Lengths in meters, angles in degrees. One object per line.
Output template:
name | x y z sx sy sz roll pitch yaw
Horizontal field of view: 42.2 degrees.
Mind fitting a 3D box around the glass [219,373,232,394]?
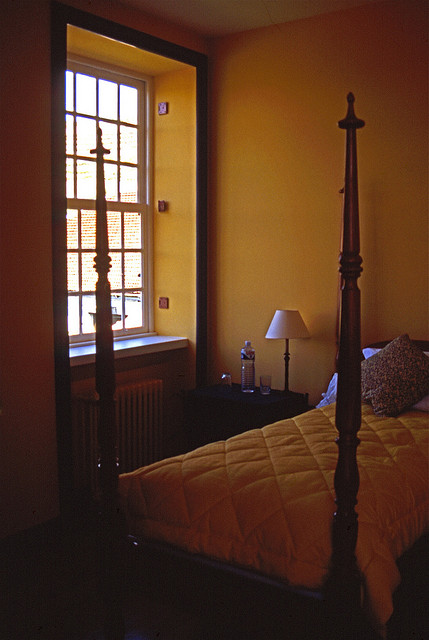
glass | 0.064 0.348 3.040 0.070 0.155 0.080 2 8 8

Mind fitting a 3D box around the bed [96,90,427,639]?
bed | 0.376 -0.001 2.028 0.944 1.354 1.682 3 6 32

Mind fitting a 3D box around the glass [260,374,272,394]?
glass | 0.276 0.336 2.911 0.068 0.136 0.077 0 2 14

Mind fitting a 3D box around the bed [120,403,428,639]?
bed | 0.257 0.492 1.769 0.840 0.277 0.947 3 9 34

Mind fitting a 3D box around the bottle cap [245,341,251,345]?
bottle cap | 0.184 0.127 3.045 0.020 0.018 0.021 0 2 -27

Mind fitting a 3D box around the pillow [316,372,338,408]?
pillow | 0.528 0.334 2.592 0.080 0.143 0.327 0 7 13
